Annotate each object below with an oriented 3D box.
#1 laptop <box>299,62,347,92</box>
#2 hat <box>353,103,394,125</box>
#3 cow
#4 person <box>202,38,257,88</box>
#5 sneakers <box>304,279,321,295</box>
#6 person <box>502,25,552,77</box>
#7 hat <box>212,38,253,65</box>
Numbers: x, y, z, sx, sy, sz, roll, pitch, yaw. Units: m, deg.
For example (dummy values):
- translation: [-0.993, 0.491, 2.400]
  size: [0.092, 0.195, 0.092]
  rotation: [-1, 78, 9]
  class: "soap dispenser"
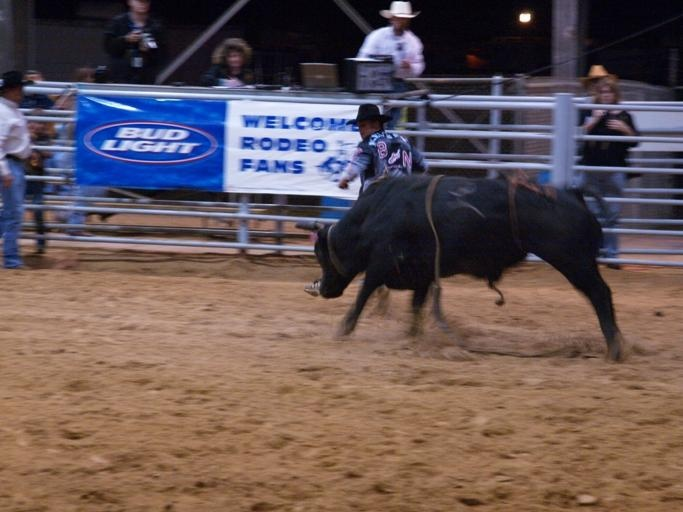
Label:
- translation: [-0.241, -2.120, 9.595]
  size: [0.510, 0.352, 0.326]
  rotation: [3, 7, 9]
  class: "laptop"
- translation: [0.303, -1.321, 7.520]
  size: [0.322, 0.071, 0.238]
  rotation: [-2, -3, -33]
  class: "hat"
- translation: [1.107, 0.045, 6.764]
  size: [0.984, 1.227, 3.421]
  rotation: [14, -8, -44]
  class: "cow"
- translation: [-1.342, -2.310, 10.015]
  size: [0.846, 0.595, 0.438]
  rotation: [1, -4, -17]
  class: "person"
- translation: [-0.237, 0.271, 7.403]
  size: [0.190, 0.071, 0.182]
  rotation: [-1, 35, 13]
  class: "sneakers"
- translation: [3.662, -4.122, 16.016]
  size: [0.876, 1.035, 0.405]
  rotation: [3, 8, 7]
  class: "person"
- translation: [-1.331, -2.506, 9.895]
  size: [0.439, 0.319, 0.444]
  rotation: [1, 6, -5]
  class: "hat"
